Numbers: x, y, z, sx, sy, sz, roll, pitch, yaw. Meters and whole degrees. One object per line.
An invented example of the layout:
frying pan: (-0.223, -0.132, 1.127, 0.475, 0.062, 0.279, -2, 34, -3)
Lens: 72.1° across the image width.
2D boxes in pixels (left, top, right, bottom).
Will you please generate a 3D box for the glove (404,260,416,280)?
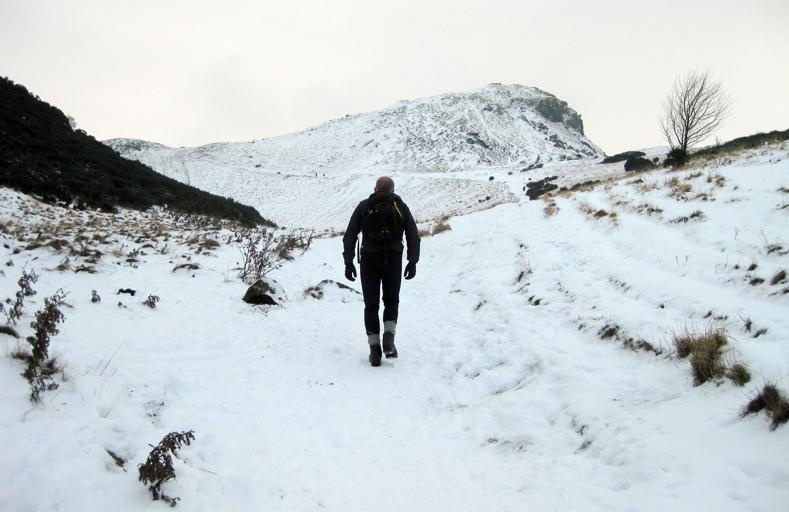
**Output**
glove: (0.255, 0.242, 9.129, 0.205, 0.270, 0.074, 7, 17, -4)
